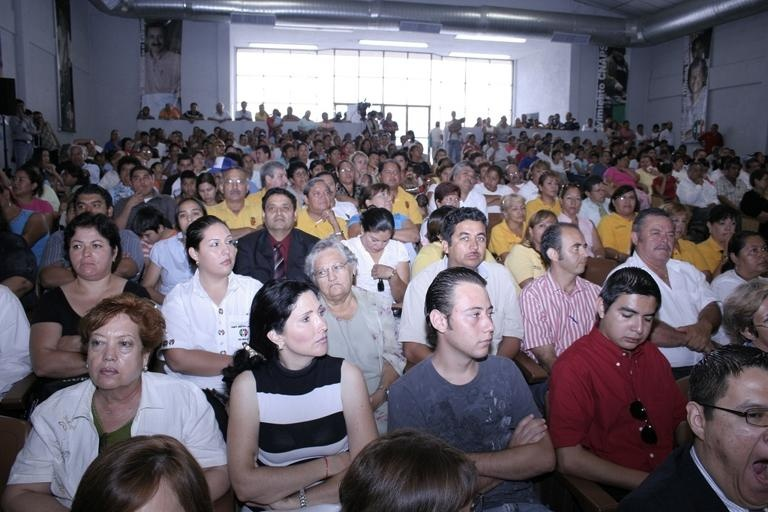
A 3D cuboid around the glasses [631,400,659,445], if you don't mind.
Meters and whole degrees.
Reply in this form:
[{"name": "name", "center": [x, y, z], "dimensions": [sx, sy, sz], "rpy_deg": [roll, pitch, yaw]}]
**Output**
[{"name": "glasses", "center": [1.666, 1.068, 3.445], "dimensions": [0.174, 0.273, 0.083], "rpy_deg": [1, 9, 2]}]
